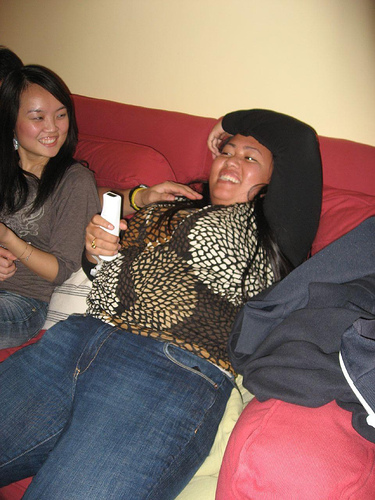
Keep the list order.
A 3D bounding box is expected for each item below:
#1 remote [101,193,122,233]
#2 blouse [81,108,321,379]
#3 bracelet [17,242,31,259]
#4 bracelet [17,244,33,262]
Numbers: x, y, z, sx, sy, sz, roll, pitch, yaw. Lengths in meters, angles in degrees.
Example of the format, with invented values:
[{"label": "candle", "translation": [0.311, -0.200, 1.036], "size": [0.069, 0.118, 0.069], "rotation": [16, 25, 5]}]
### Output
[{"label": "remote", "translation": [-0.177, -0.084, 0.977], "size": [0.046, 0.103, 0.059], "rotation": [6, 19, -10]}, {"label": "blouse", "translation": [0.046, -0.087, 1.205], "size": [0.533, 0.656, 0.597], "rotation": [18, 21, 26]}, {"label": "bracelet", "translation": [-0.486, 0.004, 1.241], "size": [0.028, 0.047, 0.021], "rotation": [3, 20, -17]}, {"label": "bracelet", "translation": [-0.478, 0.007, 1.237], "size": [0.009, 0.046, 0.046], "rotation": [16, 30, 26]}]
